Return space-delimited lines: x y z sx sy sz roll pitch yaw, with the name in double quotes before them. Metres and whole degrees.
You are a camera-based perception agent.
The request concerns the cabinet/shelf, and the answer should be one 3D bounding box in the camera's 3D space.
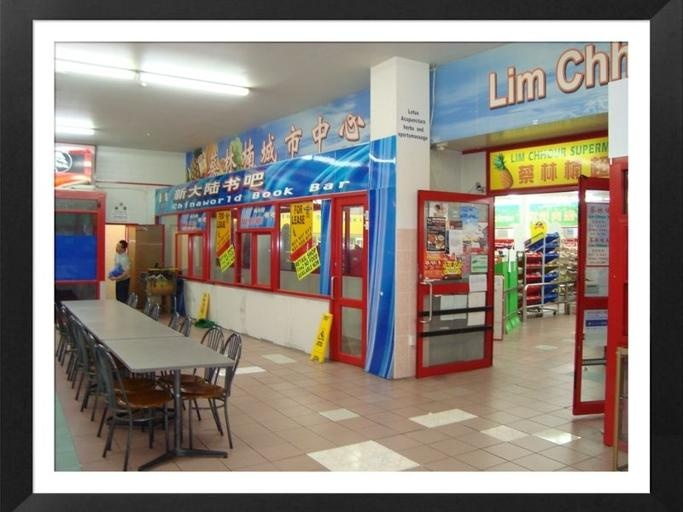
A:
"cabinet/shelf" 4.349 0.482 11.765 1.939 2.014 1.141 -1 -4 10
